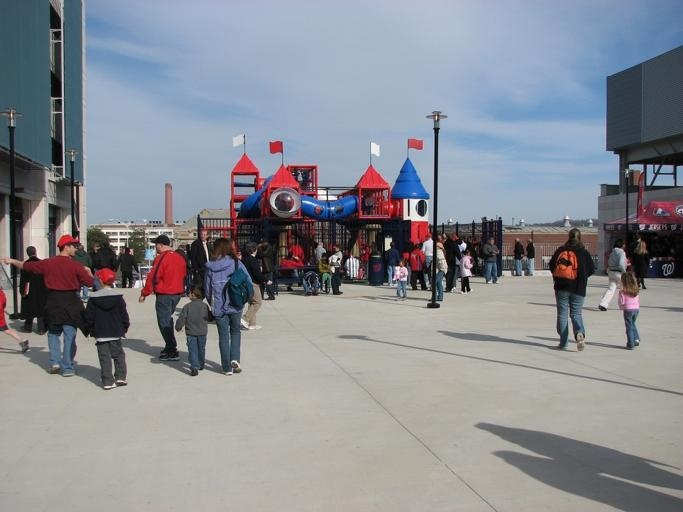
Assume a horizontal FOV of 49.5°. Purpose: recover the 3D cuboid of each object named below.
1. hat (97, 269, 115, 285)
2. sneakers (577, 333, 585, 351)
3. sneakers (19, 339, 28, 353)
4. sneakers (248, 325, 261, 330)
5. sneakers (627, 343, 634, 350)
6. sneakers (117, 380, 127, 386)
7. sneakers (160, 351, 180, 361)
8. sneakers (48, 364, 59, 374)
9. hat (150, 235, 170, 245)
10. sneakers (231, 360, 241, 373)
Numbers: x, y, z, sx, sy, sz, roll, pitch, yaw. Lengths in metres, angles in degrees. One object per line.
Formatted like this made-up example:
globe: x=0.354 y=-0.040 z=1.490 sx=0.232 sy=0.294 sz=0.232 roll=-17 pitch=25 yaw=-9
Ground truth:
hat: x=-3.402 y=0.283 z=10.714 sx=0.181 sy=0.161 sz=0.269 roll=-2 pitch=24 yaw=-33
sneakers: x=4.010 y=1.440 z=12.454 sx=0.101 sy=0.348 sz=0.143 roll=-2 pitch=6 yaw=23
sneakers: x=-5.509 y=1.568 z=12.877 sx=0.119 sy=0.182 sz=0.389 roll=-1 pitch=-14 yaw=-8
sneakers: x=-1.784 y=1.447 z=15.134 sx=0.216 sy=0.110 sz=0.087 roll=-5 pitch=1 yaw=2
sneakers: x=4.944 y=1.543 z=12.720 sx=0.118 sy=0.073 sz=0.213 roll=3 pitch=7 yaw=22
sneakers: x=-3.101 y=1.781 z=10.444 sx=0.061 sy=0.041 sz=0.113 roll=2 pitch=5 yaw=-5
sneakers: x=-2.792 y=1.610 z=12.103 sx=0.329 sy=0.169 sz=0.141 roll=9 pitch=-8 yaw=-12
sneakers: x=-4.314 y=1.690 z=11.136 sx=0.079 sy=0.085 sz=0.184 roll=-16 pitch=-13 yaw=-45
hat: x=-2.982 y=-0.236 z=12.232 sx=0.243 sy=0.165 sz=0.186 roll=16 pitch=6 yaw=13
sneakers: x=-1.591 y=1.654 z=11.127 sx=0.078 sy=0.238 sz=0.096 roll=-23 pitch=16 yaw=-7
